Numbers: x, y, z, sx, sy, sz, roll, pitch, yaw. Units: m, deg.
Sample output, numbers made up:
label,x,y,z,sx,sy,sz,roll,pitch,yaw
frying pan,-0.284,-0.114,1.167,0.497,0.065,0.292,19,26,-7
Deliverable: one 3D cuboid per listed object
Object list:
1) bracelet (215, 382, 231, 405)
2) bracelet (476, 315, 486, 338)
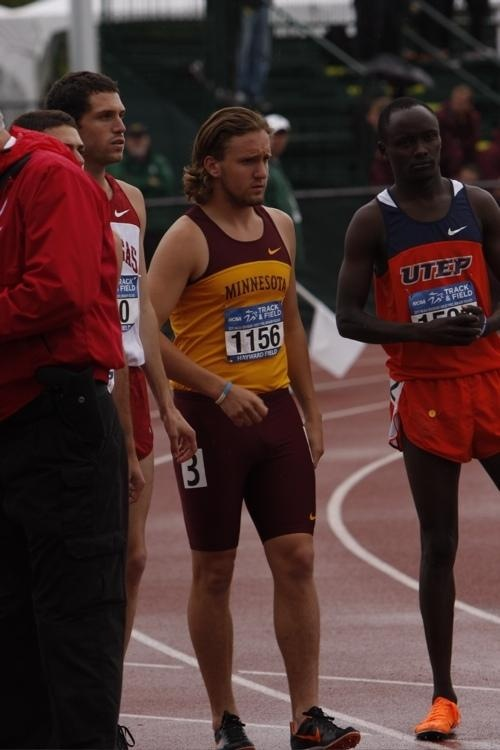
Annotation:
label,x,y,z,sx,sy,sz,roll,pitch,yaw
bracelet,-0.079,0.057,2.902,0.018,0.062,0.065,28,32,6
bracelet,0.815,-0.171,3.098,0.028,0.071,0.063,3,19,12
